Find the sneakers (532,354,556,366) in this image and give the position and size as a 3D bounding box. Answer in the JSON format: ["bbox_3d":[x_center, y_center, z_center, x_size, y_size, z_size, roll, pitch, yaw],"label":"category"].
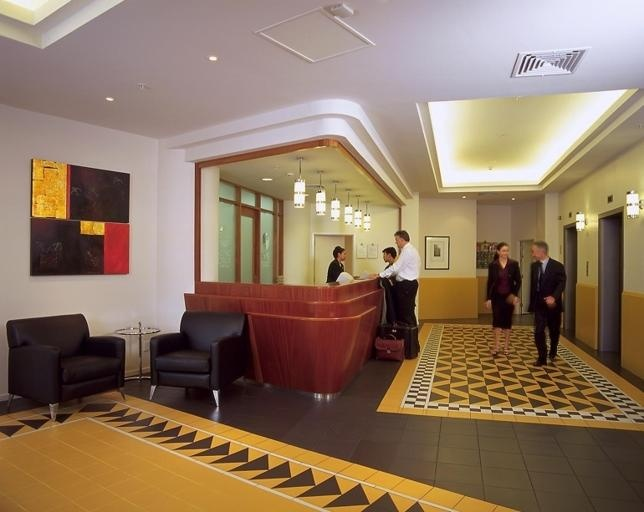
[{"bbox_3d":[3.786,1.793,7.676,0.613,0.277,0.198,9,-10,-40],"label":"sneakers"}]

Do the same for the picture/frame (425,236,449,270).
[{"bbox_3d":[3.394,-0.071,13.352,0.918,1.330,0.049,0,-1,-9],"label":"picture/frame"}]

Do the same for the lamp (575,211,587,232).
[{"bbox_3d":[5.877,-0.777,10.199,0.183,0.417,0.348,1,4,28],"label":"lamp"}]

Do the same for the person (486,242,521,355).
[{"bbox_3d":[3.292,0.806,8.174,0.544,2.073,0.647,1,4,22],"label":"person"}]

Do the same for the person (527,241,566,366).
[{"bbox_3d":[3.702,0.826,7.405,0.489,2.113,1.116,1,4,27],"label":"person"}]

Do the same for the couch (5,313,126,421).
[{"bbox_3d":[-3.321,1.323,6.127,1.219,1.427,1.243,-3,-4,30],"label":"couch"}]
